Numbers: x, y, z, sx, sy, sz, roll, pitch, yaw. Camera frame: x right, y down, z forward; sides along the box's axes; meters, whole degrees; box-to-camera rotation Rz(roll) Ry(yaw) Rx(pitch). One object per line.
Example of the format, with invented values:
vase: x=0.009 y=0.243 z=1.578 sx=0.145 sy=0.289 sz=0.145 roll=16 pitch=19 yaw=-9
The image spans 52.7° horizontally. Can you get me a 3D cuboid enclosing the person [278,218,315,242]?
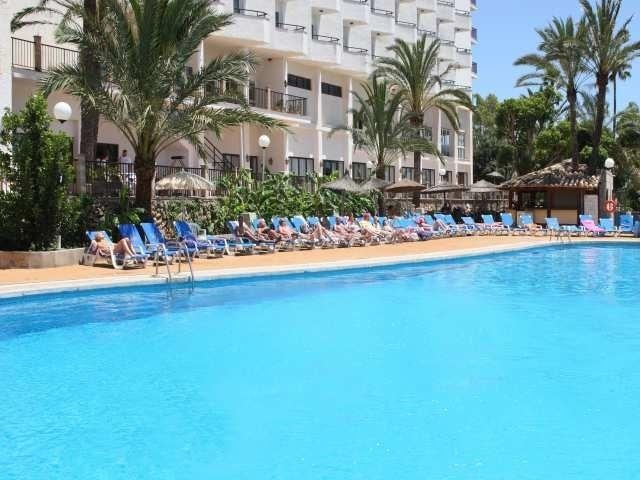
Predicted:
person: x=-0.856 y=-0.288 z=21.541 sx=0.652 sy=0.739 sz=1.049 roll=0 pitch=0 yaw=-41

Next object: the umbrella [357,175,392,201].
umbrella: x=2.396 y=-2.001 z=28.536 sx=1.049 sy=0.577 sz=1.011 roll=-20 pitch=27 yaw=-34

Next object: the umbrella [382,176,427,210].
umbrella: x=4.243 y=-2.401 z=31.141 sx=1.507 sy=1.271 sz=1.513 roll=-8 pitch=10 yaw=-39

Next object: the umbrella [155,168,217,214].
umbrella: x=-4.363 y=-1.829 z=21.824 sx=1.563 sy=0.843 sz=1.631 roll=1 pitch=1 yaw=43

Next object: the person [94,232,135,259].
person: x=-5.195 y=0.173 z=16.491 sx=1.310 sy=0.777 sz=0.585 roll=-1 pitch=-1 yaw=21

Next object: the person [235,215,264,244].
person: x=-2.235 y=-0.241 z=20.440 sx=0.792 sy=0.799 sz=0.630 roll=-1 pitch=2 yaw=-10

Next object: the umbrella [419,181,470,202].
umbrella: x=7.250 y=-2.768 z=38.194 sx=1.753 sy=0.944 sz=2.067 roll=-2 pitch=10 yaw=8

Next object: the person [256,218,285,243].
person: x=-1.739 y=-0.223 z=21.126 sx=0.449 sy=0.782 sz=1.117 roll=-4 pitch=1 yaw=-34

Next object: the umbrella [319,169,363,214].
umbrella: x=0.873 y=-2.262 z=27.782 sx=1.438 sy=0.914 sz=1.556 roll=1 pitch=4 yaw=-21
